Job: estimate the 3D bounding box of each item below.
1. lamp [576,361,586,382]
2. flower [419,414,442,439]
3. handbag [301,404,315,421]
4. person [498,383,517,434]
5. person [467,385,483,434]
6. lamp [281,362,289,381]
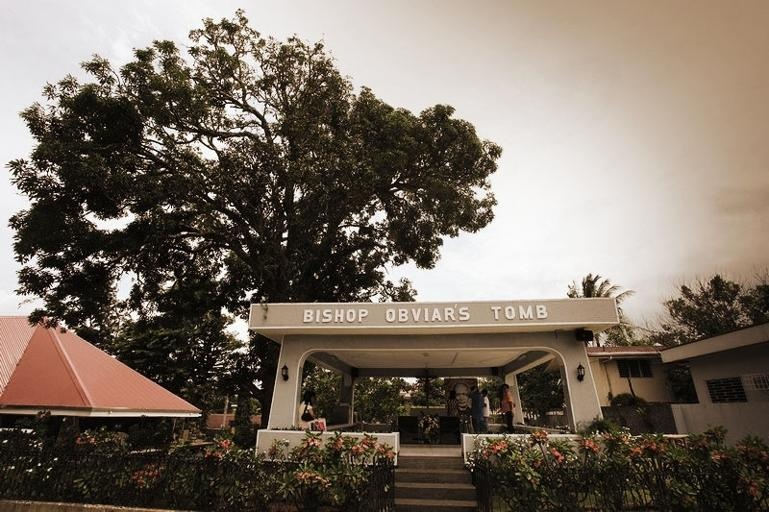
[{"bbox_3d":[7.584,4.499,17.895,0.330,0.617,0.200,6,-25,-6],"label":"lamp"},{"bbox_3d":[2.147,8.022,21.625,0.728,1.076,0.321,-1,-8,3],"label":"flower"},{"bbox_3d":[-3.025,6.161,18.325,0.676,0.675,0.382,-4,-18,12],"label":"handbag"},{"bbox_3d":[5.245,6.483,19.838,0.493,2.012,1.022,-3,-26,13],"label":"person"},{"bbox_3d":[3.797,6.306,19.064,0.548,1.755,0.718,-2,-26,10],"label":"person"},{"bbox_3d":[-3.984,4.709,18.807,0.276,0.561,0.195,-2,-26,11],"label":"lamp"}]
